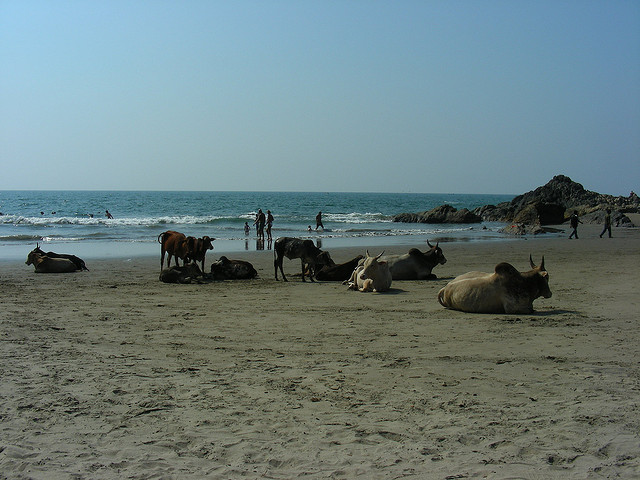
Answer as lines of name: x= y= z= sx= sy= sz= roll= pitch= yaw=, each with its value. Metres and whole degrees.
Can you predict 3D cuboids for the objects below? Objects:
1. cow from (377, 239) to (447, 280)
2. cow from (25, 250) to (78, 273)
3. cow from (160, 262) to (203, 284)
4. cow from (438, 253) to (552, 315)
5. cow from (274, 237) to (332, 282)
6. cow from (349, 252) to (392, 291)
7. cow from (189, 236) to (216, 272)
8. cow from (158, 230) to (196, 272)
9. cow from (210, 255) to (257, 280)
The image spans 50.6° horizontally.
cow: x=2.360 y=0.591 z=18.137 sx=2.226 sy=1.072 sz=0.734 roll=-4 pitch=-6 yaw=-3
cow: x=-8.300 y=0.668 z=20.477 sx=2.065 sy=0.520 sz=0.876 roll=4 pitch=12 yaw=21
cow: x=-3.651 y=0.886 z=18.000 sx=0.854 sy=0.412 sz=0.515 roll=-6 pitch=10 yaw=-32
cow: x=3.368 y=0.892 z=13.270 sx=2.237 sy=1.125 sz=0.817 roll=-2 pitch=0 yaw=17
cow: x=-0.444 y=0.535 z=18.643 sx=1.803 sy=1.161 sz=0.441 roll=4 pitch=0 yaw=22
cow: x=1.433 y=0.727 z=16.293 sx=0.746 sy=0.951 sz=1.987 roll=6 pitch=3 yaw=26
cow: x=-3.437 y=0.424 z=19.440 sx=0.635 sy=1.145 sz=1.179 roll=-2 pitch=11 yaw=-11
cow: x=-4.335 y=0.317 z=20.431 sx=0.581 sy=1.118 sz=2.081 roll=-5 pitch=15 yaw=-41
cow: x=-2.462 y=0.784 z=18.996 sx=0.940 sy=0.399 sz=0.653 roll=1 pitch=-3 yaw=4
